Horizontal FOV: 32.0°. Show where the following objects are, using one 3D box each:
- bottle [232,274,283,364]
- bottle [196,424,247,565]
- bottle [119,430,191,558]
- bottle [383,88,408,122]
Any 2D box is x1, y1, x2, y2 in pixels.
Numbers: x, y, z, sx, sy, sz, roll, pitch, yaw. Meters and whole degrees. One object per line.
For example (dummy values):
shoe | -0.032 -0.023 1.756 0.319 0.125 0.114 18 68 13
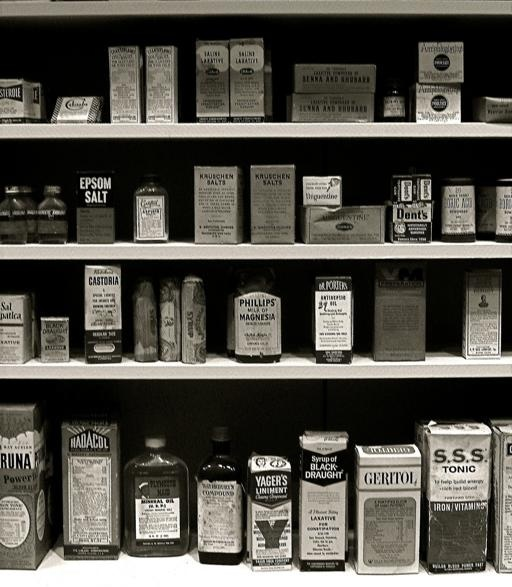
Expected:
bottle | 0.002 0.068 2.480 0.122 0.234 0.091 -3 8 -5
bottle | -0.101 0.560 2.474 0.118 0.358 0.084 -1 8 4
bottle | -0.289 0.564 2.541 0.189 0.332 0.146 -3 8 -6
bottle | 0.382 -0.531 2.496 0.063 0.144 0.067 -1 10 0
